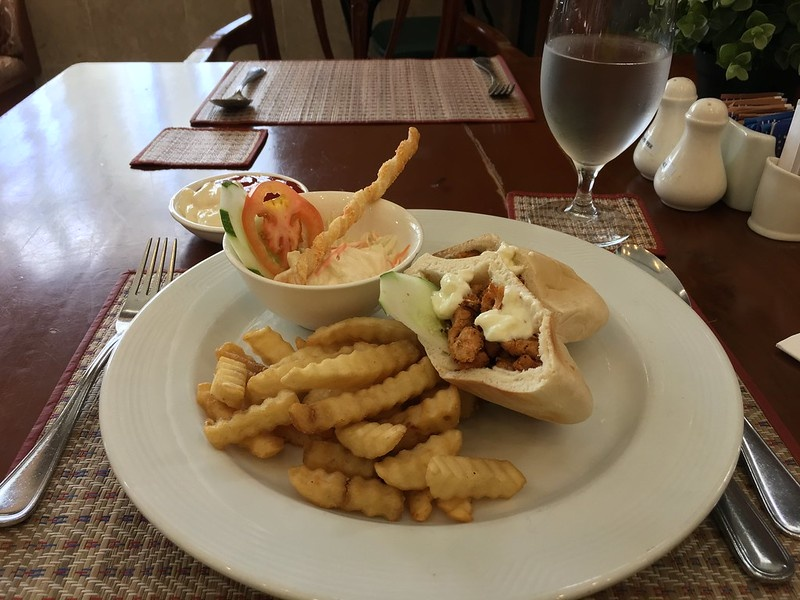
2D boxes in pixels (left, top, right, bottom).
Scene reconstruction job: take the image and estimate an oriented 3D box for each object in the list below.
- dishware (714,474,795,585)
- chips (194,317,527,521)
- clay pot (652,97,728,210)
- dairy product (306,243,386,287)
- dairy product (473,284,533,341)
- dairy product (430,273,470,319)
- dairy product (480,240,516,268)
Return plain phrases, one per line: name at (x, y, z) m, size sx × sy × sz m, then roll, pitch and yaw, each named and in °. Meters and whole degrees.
dishware at (0.534, 0.346, 0.881) m, size 0.045 × 0.018 × 0.168 m, roll -3°, pitch 26°, yaw -1°
chips at (-0.093, 0.204, 0.990) m, size 0.409 × 0.145 × 0.346 m, roll 17°, pitch 41°, yaw -7°
clay pot at (0.803, -0.411, 1.561) m, size 0.174 × 0.286 × 0.193 m, roll 10°, pitch 39°, yaw 18°
dairy product at (-0.102, -0.084, 1.278) m, size 0.127 × 0.034 × 0.100 m, roll -26°, pitch 28°, yaw -21°
dairy product at (0.189, 0.020, 1.069) m, size 0.086 × 0.037 × 0.096 m, roll 12°, pitch 66°, yaw 20°
dairy product at (0.106, -0.002, 1.182) m, size 0.064 × 0.091 × 0.034 m, roll 30°, pitch 12°, yaw 34°
dairy product at (0.204, -0.096, 1.170) m, size 0.044 × 0.020 × 0.045 m, roll 38°, pitch 31°, yaw 8°
